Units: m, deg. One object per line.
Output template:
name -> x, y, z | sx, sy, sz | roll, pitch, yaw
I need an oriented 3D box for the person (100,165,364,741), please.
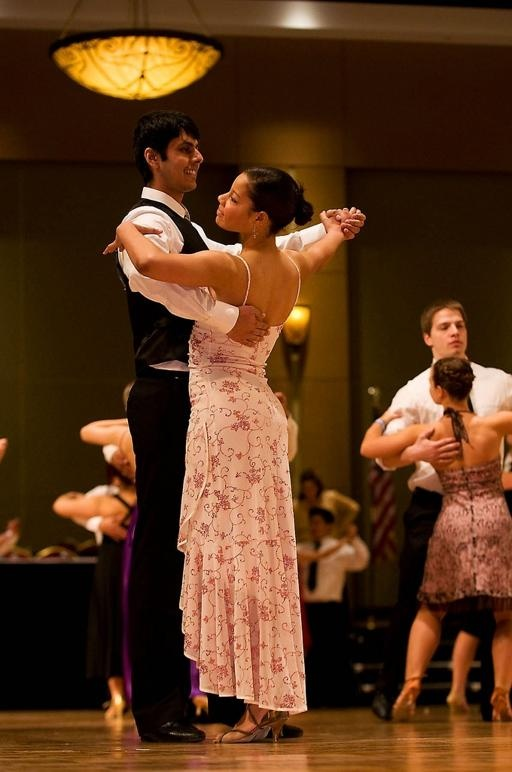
person -> -0.070, 0.184, 2.067 | 0.378, 1.486, 0.761 | -6, -9, 36

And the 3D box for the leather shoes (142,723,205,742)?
leather shoes -> -0.199, 0.845, 1.963 | 0.167, 0.061, 0.054 | -5, -15, 12

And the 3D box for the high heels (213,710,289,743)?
high heels -> 0.016, 0.868, 2.062 | 0.230, 0.108, 0.070 | -1, -34, 5
